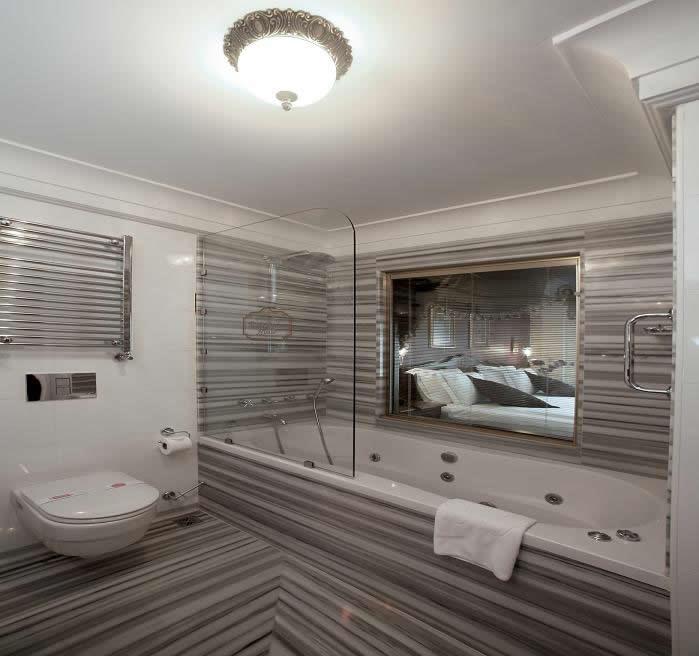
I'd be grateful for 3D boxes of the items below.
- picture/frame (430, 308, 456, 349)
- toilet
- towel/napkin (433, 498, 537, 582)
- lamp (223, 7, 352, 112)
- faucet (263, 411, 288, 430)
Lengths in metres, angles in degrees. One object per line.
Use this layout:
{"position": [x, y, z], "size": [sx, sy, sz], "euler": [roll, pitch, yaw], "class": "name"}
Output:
{"position": [0.753, -0.002, 3.814], "size": [0.198, 0.333, 0.020], "euler": [1, -5, 26], "class": "picture/frame"}
{"position": [-1.447, 1.017, 2.614], "size": [0.768, 0.247, 0.609], "euler": [5, 4, 43], "class": "toilet"}
{"position": [0.568, 0.899, 2.012], "size": [0.371, 0.225, 0.184], "euler": [7, 6, 39], "class": "towel/napkin"}
{"position": [-0.212, -0.940, 1.644], "size": [0.436, 0.194, 0.273], "euler": [2, 5, -13], "class": "lamp"}
{"position": [-0.449, 0.565, 2.900], "size": [0.053, 0.055, 0.221], "euler": [5, -2, -36], "class": "faucet"}
